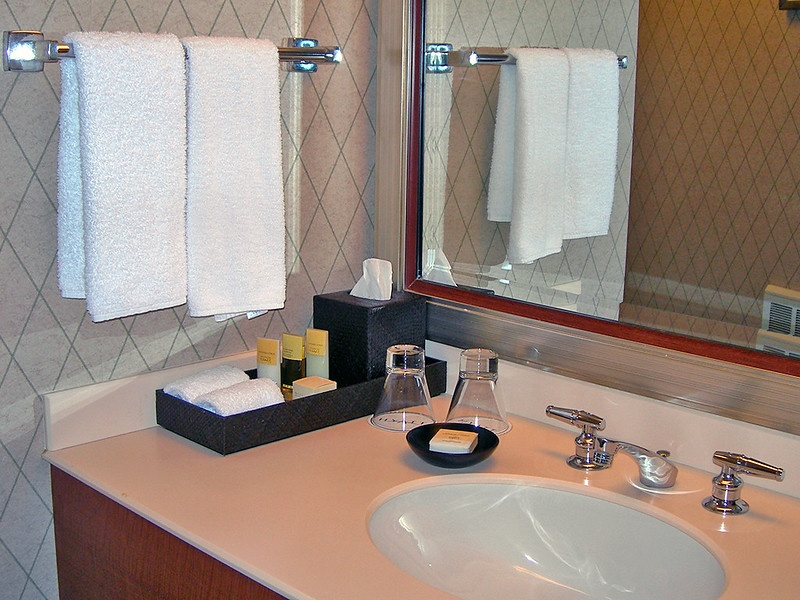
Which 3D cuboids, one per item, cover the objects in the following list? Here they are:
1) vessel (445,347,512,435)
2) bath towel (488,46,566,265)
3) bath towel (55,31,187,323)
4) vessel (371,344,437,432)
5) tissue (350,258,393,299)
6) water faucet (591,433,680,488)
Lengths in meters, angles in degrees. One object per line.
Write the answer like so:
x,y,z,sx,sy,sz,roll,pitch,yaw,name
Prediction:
0.165,0.193,1.392,0.136,0.177,0.083,0,23,-2,vessel
0.288,-0.308,1.471,0.089,0.453,0.238,-18,29,-36,bath towel
-0.478,-0.222,1.218,0.210,0.484,0.170,-6,24,-16,bath towel
0.006,0.186,1.420,0.132,0.168,0.102,-3,23,-9,vessel
-0.066,-0.054,1.603,0.111,0.100,0.014,8,3,32,tissue
0.438,0.279,1.260,0.061,0.071,0.182,-10,18,-39,water faucet
